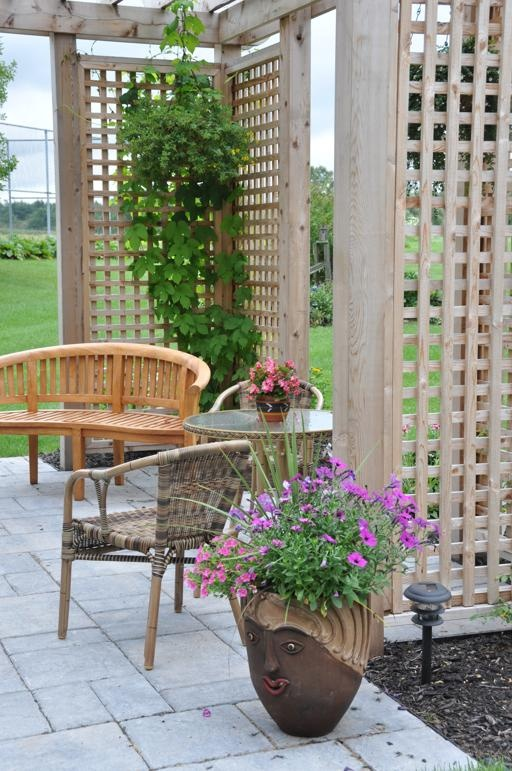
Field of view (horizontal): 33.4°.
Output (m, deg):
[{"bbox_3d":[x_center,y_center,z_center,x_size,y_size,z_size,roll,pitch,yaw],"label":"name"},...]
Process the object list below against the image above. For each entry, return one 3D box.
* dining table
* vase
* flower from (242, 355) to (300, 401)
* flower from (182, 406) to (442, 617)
[{"bbox_3d":[0.050,0.177,3.273,0.452,0.284,0.439,3,10,23],"label":"dining table"},{"bbox_3d":[0.121,0.703,2.166,0.321,0.329,0.327,-4,-9,36],"label":"vase"},{"bbox_3d":[0.071,-0.015,3.375,0.183,0.151,0.181,11,17,31],"label":"flower"},{"bbox_3d":[0.209,0.352,2.360,0.715,0.369,0.679,2,9,-2],"label":"flower"}]
